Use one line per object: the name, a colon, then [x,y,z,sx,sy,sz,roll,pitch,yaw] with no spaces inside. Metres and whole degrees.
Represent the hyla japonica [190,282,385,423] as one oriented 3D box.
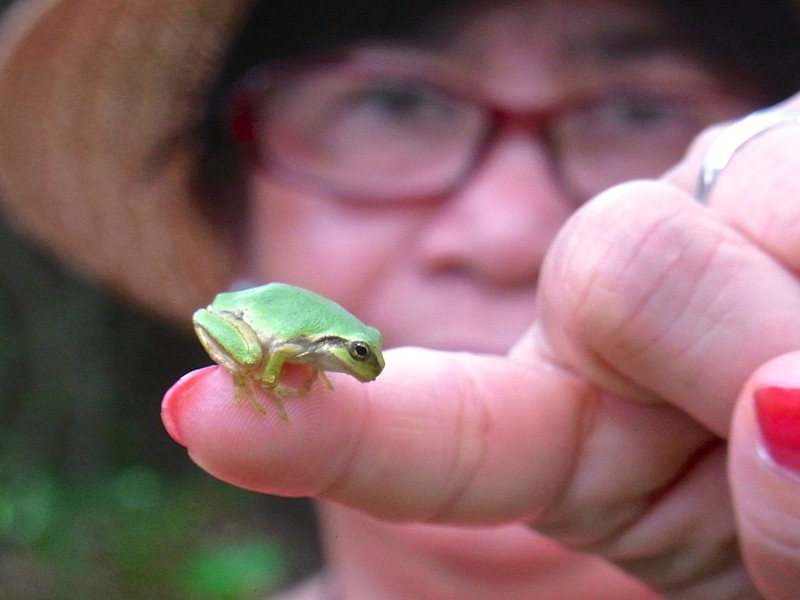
hyla japonica: [-0.160,0.039,1.277,0.216,0.144,0.186,23,26,7]
